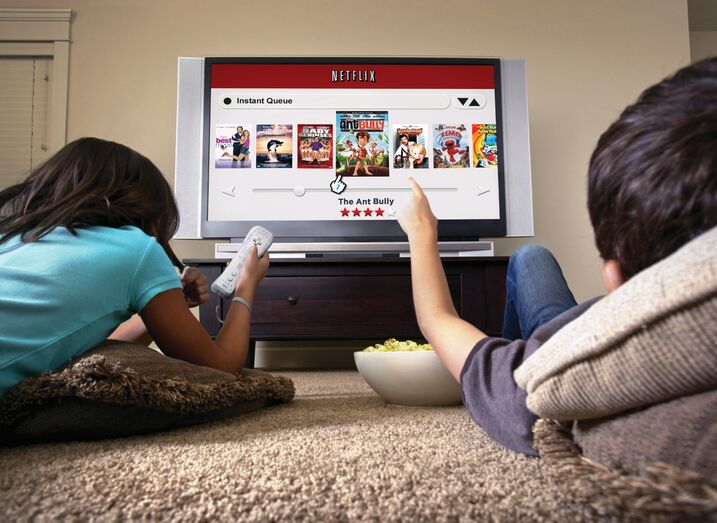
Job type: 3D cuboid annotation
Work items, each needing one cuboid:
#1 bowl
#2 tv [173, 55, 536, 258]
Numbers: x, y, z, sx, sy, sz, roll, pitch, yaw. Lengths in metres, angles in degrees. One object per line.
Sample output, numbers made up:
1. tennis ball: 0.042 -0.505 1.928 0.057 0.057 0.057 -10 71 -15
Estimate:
1. bowl: 0.108 0.267 1.240 0.174 0.076 0.175 1 -7 0
2. tv: -0.001 -0.506 2.714 1.703 0.944 0.176 -1 4 -5
